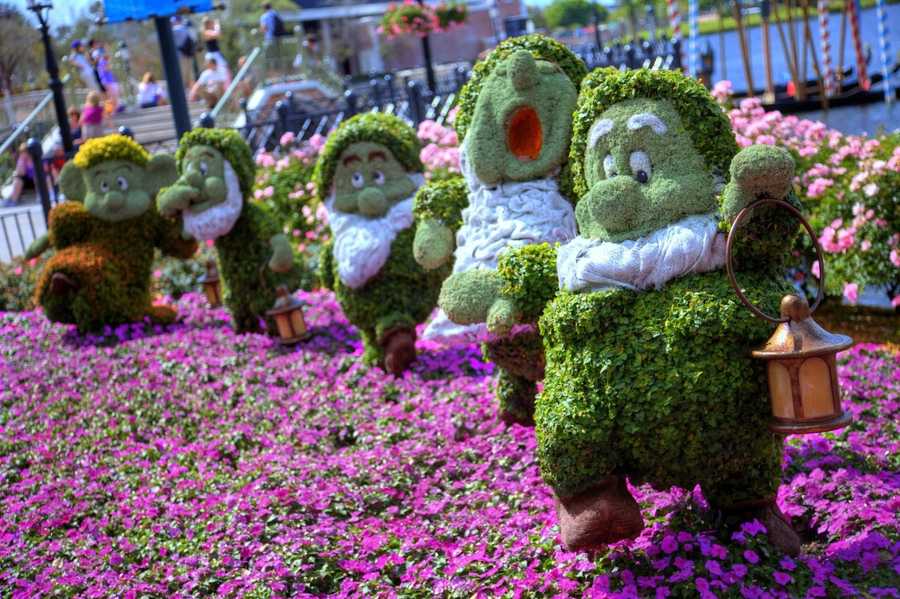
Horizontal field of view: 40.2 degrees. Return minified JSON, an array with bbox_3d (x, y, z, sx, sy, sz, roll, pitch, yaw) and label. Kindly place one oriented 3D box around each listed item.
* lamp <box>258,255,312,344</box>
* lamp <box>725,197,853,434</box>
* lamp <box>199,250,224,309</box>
[{"bbox_3d":[-1.503,0.028,11.222,0.365,0.753,0.545,-9,14,-8],"label":"lamp"},{"bbox_3d":[2.267,0.151,8.211,0.773,1.630,0.479,-3,14,18],"label":"lamp"},{"bbox_3d":[-2.346,-0.145,12.169,0.177,0.481,0.428,-10,15,-11],"label":"lamp"}]
